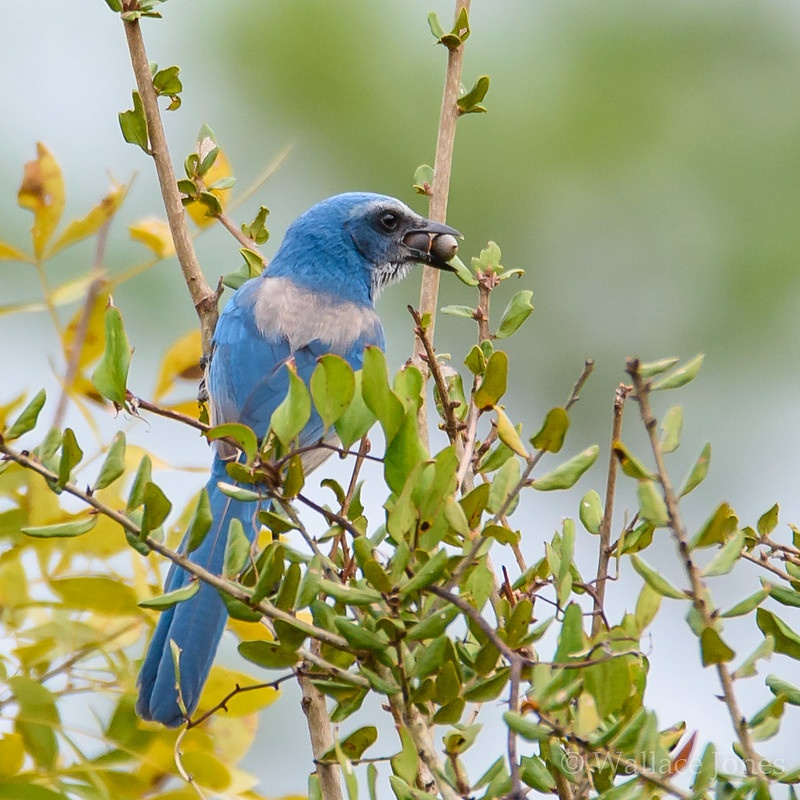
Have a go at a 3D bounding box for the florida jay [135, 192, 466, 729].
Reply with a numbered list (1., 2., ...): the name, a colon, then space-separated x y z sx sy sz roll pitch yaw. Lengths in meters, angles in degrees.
1. florida jay: -0.331 0.002 4.352 0.540 2.261 0.920 11 -22 27
